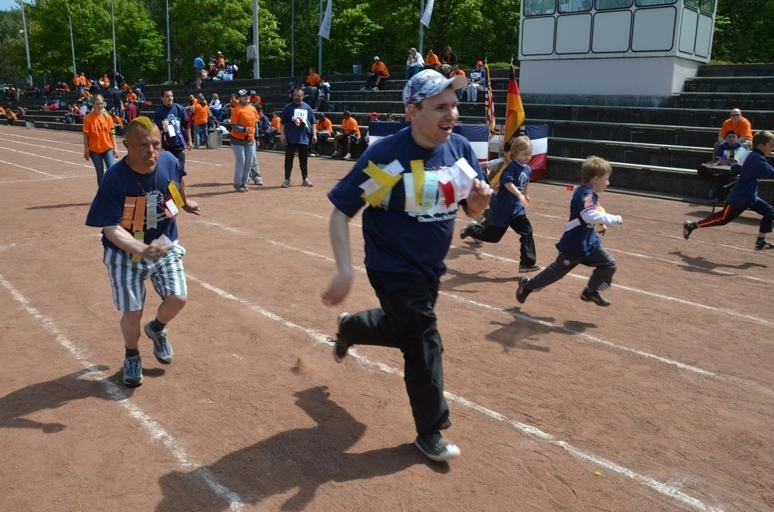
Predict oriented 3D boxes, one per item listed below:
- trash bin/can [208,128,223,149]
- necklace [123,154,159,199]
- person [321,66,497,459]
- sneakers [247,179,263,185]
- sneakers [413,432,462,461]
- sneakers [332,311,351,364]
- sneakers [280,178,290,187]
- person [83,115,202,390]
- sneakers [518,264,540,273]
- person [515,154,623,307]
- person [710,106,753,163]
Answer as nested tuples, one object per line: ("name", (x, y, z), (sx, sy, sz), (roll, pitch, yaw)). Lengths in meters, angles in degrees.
("trash bin/can", (-7.853, -5.300, 25.345), (0.524, 0.790, 0.734), (-5, 19, -21))
("necklace", (-2.285, -0.759, 5.316), (0.208, 0.351, 0.272), (-27, 0, 18))
("person", (0.172, -0.016, 4.497), (1.345, 2.865, 0.908), (-1, 19, -12))
("sneakers", (-3.723, -2.128, 15.857), (0.531, 0.202, 0.172), (-1, 10, 10))
("sneakers", (0.407, 1.572, 4.606), (0.352, 0.128, 0.187), (4, 6, 41))
("sneakers", (-0.446, 0.766, 5.186), (0.221, 0.512, 0.189), (-4, -5, 38))
("sneakers", (-2.822, -2.041, 15.487), (0.189, 0.147, 0.369), (0, 7, -2))
("person", (-2.387, -0.049, 5.446), (0.788, 2.559, 0.895), (0, 18, -6))
("sneakers", (2.215, 0.162, 8.700), (0.363, 0.149, 0.126), (-7, 16, -12))
("person", (2.402, -0.268, 7.051), (1.032, 1.950, 0.646), (10, 20, 23))
("person", (9.073, -3.141, 14.587), (1.039, 1.297, 1.100), (-7, 18, 15))
